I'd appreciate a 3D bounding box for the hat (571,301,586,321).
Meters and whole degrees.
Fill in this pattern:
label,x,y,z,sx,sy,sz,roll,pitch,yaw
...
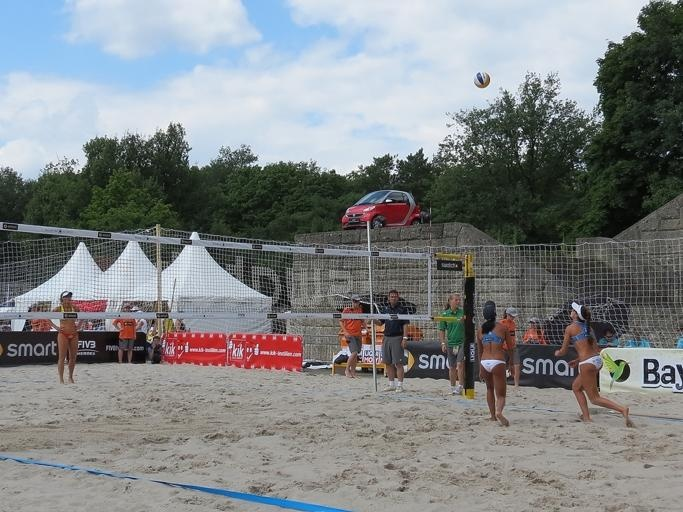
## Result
label,x,y,z,sx,sy,sz,roll,pitch,yaw
hat,3.965,0.922,15.090,0.190,0.305,0.098,-1,-21,-44

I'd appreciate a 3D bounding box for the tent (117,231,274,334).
label,x,y,z,sx,sy,sz,roll,pitch,yaw
tent,-3.447,0.962,25.102,3.388,2.828,3.427,1,-1,-20

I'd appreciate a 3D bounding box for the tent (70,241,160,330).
label,x,y,z,sx,sy,sz,roll,pitch,yaw
tent,-6.361,0.552,25.975,0.631,2.462,2.598,22,-28,-38

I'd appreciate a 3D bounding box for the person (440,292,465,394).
label,x,y,z,sx,sy,sz,roll,pitch,yaw
person,2.113,1.683,17.286,0.447,1.820,0.818,0,9,5

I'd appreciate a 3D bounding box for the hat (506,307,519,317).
label,x,y,z,sx,sy,sz,roll,pitch,yaw
hat,3.602,1.186,18.950,0.307,0.138,0.279,9,-11,-38

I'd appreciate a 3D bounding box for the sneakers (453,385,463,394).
label,x,y,z,sx,sy,sz,roll,pitch,yaw
sneakers,2.239,2.544,17.194,0.187,0.123,0.346,2,9,17

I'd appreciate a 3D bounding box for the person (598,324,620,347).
label,x,y,z,sx,sy,sz,roll,pitch,yaw
person,5.789,1.739,19.486,0.509,0.299,0.788,-10,0,19

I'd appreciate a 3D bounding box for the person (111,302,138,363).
label,x,y,z,sx,sy,sz,roll,pitch,yaw
person,-5.766,1.950,23.784,0.607,1.483,1.860,-2,9,-13

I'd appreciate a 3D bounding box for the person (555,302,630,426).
label,x,y,z,sx,sy,sz,roll,pitch,yaw
person,4.141,1.827,14.999,1.088,2.003,1.375,-2,9,-9

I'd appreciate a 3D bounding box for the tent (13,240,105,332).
label,x,y,z,sx,sy,sz,roll,pitch,yaw
tent,-8.151,0.778,26.400,2.353,1.550,2.321,1,-1,-44

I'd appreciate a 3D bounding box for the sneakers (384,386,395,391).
label,x,y,z,sx,sy,sz,roll,pitch,yaw
sneakers,0.921,2.551,17.340,0.205,0.093,0.084,2,-8,11

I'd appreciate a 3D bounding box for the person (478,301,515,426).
label,x,y,z,sx,sy,sz,roll,pitch,yaw
person,2.500,1.783,14.753,0.543,1.944,0.877,1,9,10

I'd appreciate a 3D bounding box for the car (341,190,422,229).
label,x,y,z,sx,sy,sz,roll,pitch,yaw
car,1.175,-1.340,28.148,1.476,1.149,2.247,-6,-8,44

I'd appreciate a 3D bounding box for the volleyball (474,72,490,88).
label,x,y,z,sx,sy,sz,roll,pitch,yaw
volleyball,3.191,-3.961,20.388,0.295,0.301,0.185,3,10,22

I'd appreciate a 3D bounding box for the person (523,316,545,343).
label,x,y,z,sx,sy,sz,roll,pitch,yaw
person,4.417,1.741,20.485,0.498,0.802,0.400,-5,-5,13
